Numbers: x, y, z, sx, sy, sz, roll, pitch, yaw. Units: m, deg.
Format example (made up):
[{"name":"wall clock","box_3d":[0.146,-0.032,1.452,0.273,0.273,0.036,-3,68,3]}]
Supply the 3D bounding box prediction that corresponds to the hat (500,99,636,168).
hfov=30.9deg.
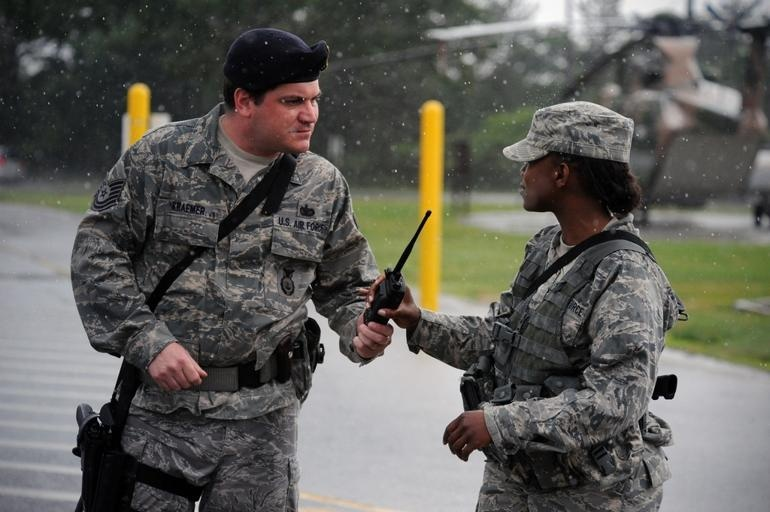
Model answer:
[{"name":"hat","box_3d":[1.428,-0.875,10.238,0.685,0.350,0.486,4,2,12]}]
